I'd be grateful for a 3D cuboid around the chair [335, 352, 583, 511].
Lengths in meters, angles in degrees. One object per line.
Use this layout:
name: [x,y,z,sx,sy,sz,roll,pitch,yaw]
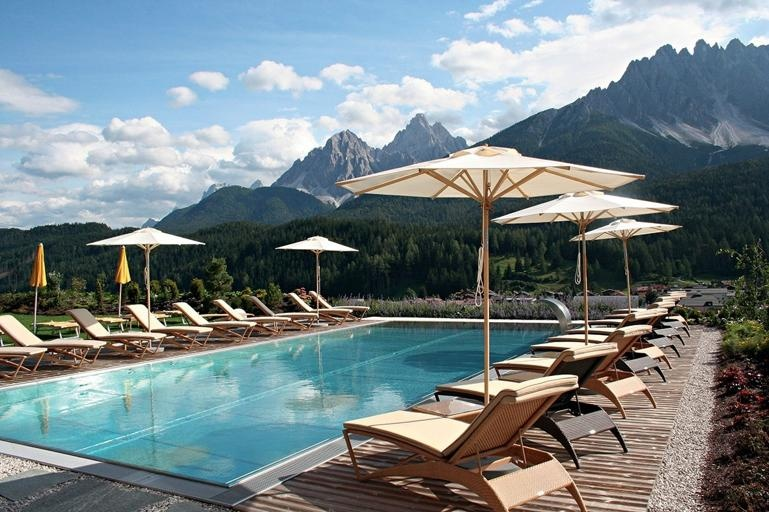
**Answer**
chair: [0.830,2.166,7.173,2.864,1.565,1.426,4,1,42]
